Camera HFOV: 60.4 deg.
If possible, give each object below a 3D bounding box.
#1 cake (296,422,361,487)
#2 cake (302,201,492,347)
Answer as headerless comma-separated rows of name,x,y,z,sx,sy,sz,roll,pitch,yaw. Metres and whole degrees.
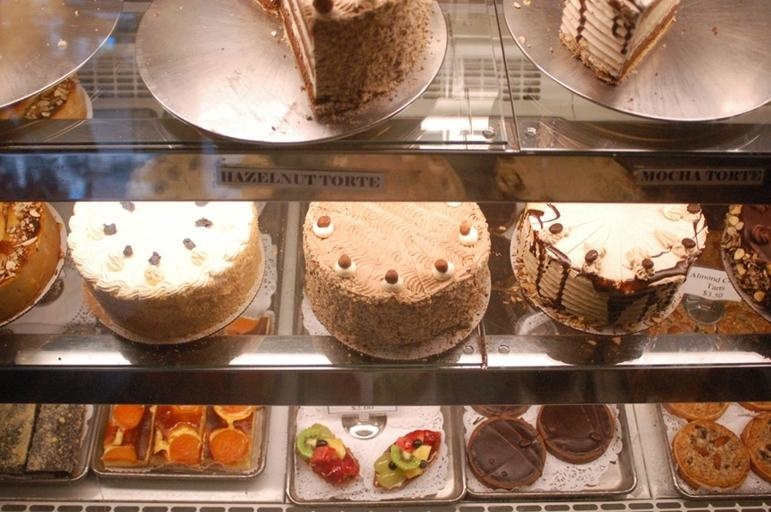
cake,-0.351,1.147,3.914,0.360,0.121,0.246,32,50,22
cake,0.055,0.153,3.528,0.761,0.349,0.790,1,42,-1
